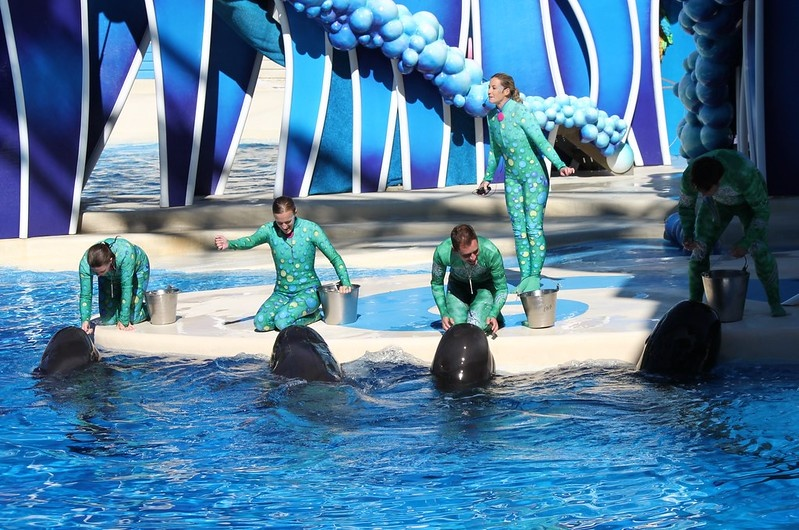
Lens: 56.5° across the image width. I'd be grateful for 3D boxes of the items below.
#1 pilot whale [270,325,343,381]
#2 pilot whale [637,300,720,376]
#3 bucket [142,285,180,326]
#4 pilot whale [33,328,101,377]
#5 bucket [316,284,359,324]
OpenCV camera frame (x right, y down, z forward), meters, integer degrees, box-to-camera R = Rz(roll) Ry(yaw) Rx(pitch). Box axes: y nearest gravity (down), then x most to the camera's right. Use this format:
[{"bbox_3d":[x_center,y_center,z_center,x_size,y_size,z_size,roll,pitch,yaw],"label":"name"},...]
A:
[{"bbox_3d":[-0.713,0.675,5.621,0.558,0.400,0.314,-1,1,-3],"label":"pilot whale"},{"bbox_3d":[2.041,0.546,5.432,0.568,0.544,0.201,-1,2,10],"label":"pilot whale"},{"bbox_3d":[-2.121,0.371,6.586,0.374,0.289,0.321,1,8,9],"label":"bucket"},{"bbox_3d":[-2.618,0.764,6.121,0.571,0.361,0.433,-1,-20,13],"label":"pilot whale"},{"bbox_3d":[-0.520,0.336,6.325,0.362,0.249,0.335,-4,1,0],"label":"bucket"}]
